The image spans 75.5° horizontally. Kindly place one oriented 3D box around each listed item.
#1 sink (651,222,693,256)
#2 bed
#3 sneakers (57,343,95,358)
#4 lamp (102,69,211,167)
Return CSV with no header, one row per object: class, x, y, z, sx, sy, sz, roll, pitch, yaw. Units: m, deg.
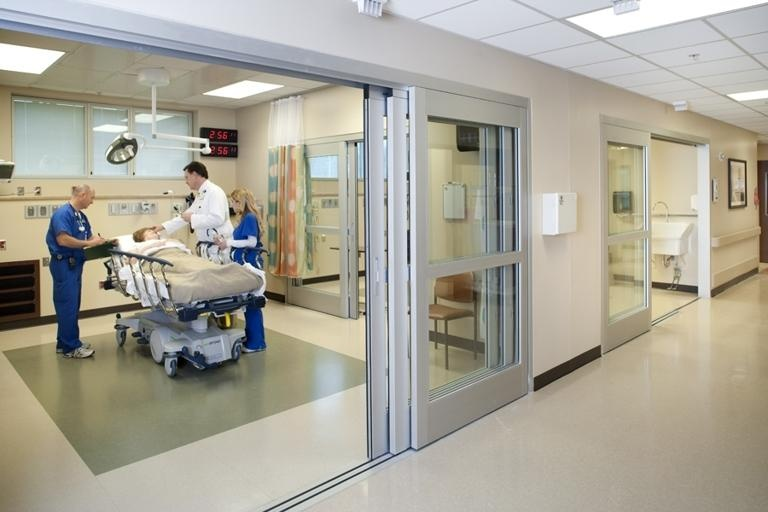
sink,4.906,-0.261,8.626,0.672,0.502,0.485,-2,-3,39
bed,-2.371,0.449,5.644,2.019,1.204,1.164,6,4,40
sneakers,-3.527,1.066,5.640,0.310,0.140,0.113,-2,22,-28
lamp,-3.350,-2.002,7.149,1.381,1.303,0.509,-1,0,-30
